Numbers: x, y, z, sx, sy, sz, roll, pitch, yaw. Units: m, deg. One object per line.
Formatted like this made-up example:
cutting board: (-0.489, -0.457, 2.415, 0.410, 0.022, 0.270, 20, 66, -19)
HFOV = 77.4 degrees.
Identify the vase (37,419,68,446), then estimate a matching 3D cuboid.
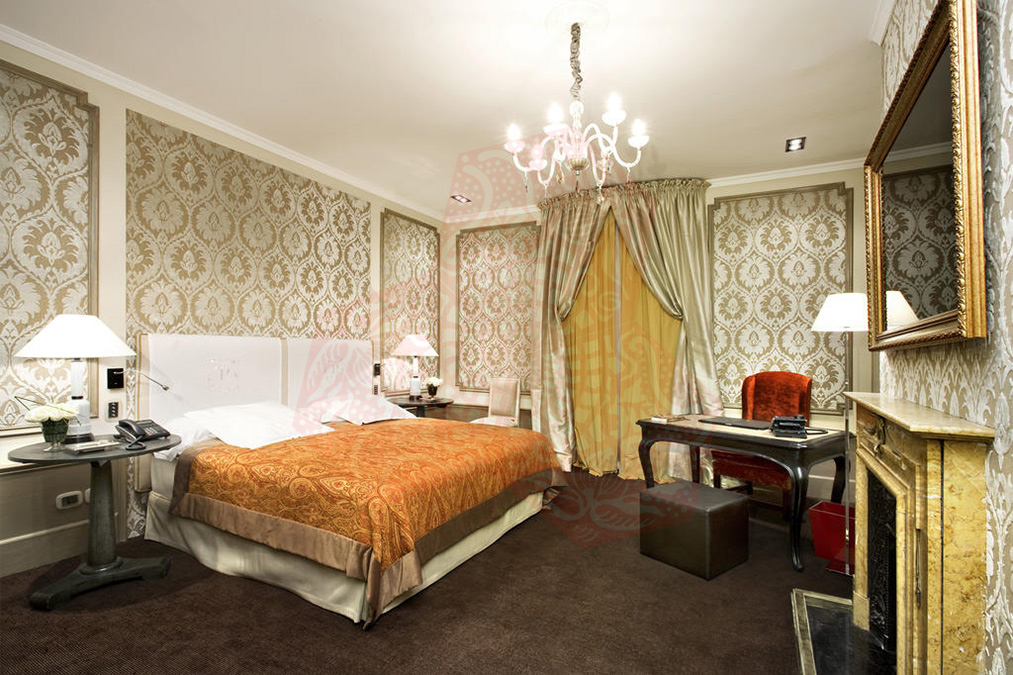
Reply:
vase: (-3.116, 0.668, 4.376, 0.159, 0.194, 0.179, 0, -9, -2)

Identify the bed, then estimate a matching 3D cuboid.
bed: (-1.370, 1.148, 5.048, 2.203, 1.562, 2.335, -2, -2, 25)

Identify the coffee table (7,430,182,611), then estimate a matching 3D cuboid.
coffee table: (-2.852, 1.236, 4.657, 1.032, 1.058, 1.007, -1, -1, 12)

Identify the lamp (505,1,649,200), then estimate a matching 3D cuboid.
lamp: (0.559, -1.901, 5.544, 1.021, 1.496, 1.082, 1, 4, 36)

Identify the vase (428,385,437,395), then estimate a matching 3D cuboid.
vase: (-0.875, 0.620, 7.385, 0.096, 0.117, 0.102, 0, 1, 10)

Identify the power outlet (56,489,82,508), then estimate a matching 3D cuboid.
power outlet: (-3.310, 1.215, 4.756, 0.020, 0.111, 0.145, -3, -4, 33)

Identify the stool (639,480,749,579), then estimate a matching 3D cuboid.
stool: (1.475, 1.476, 4.963, 0.734, 0.554, 0.718, 2, 5, 40)

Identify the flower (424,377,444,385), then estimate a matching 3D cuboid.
flower: (-0.866, 0.513, 7.414, 0.121, 0.086, 0.110, 4, 4, 23)

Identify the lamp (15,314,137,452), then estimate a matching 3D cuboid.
lamp: (-3.185, 0.322, 4.819, 0.836, 1.101, 0.828, 1, 0, -44)

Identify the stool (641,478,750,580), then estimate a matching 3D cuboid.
stool: (1.377, 1.431, 4.722, 0.647, 0.658, 0.499, 3, 4, 31)

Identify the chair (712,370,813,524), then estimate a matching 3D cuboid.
chair: (2.291, 0.852, 5.555, 0.865, 1.266, 0.788, 11, -8, -35)

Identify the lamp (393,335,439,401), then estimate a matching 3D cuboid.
lamp: (-0.981, 0.348, 7.308, 0.613, 0.917, 0.623, 1, 3, 8)

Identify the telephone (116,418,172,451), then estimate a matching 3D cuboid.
telephone: (-2.671, 0.691, 4.597, 0.219, 0.101, 0.234, 10, 5, 15)

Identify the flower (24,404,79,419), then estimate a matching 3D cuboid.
flower: (-3.129, 0.522, 4.341, 0.265, 0.141, 0.102, -3, 0, -17)

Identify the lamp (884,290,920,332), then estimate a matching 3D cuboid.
lamp: (2.310, -0.152, 3.707, 0.171, 0.202, 0.176, -21, 4, -11)
